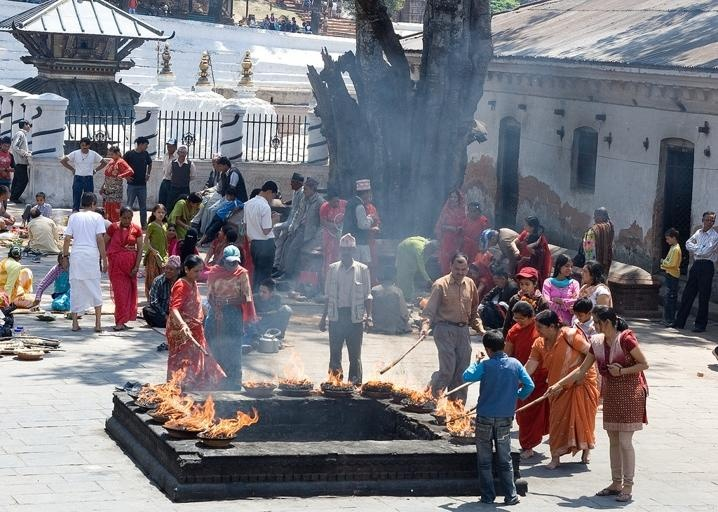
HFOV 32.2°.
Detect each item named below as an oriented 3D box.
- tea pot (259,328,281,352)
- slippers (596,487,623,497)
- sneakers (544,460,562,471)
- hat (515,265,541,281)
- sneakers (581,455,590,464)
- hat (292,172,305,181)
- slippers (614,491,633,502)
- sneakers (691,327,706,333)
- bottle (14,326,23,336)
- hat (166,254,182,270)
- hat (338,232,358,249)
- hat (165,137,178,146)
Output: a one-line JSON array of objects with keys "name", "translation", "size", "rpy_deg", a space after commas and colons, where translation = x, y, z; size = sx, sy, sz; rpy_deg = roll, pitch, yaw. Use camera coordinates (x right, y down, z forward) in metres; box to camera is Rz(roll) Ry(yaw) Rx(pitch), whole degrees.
[{"name": "tea pot", "translation": [-1.513, 1.446, 20.904], "size": [0.269, 0.334, 0.361], "rpy_deg": [2, -9, -6]}, {"name": "slippers", "translation": [3.337, 3.128, 16.405], "size": [0.322, 0.093, 0.123], "rpy_deg": [2, -1, -5]}, {"name": "sneakers", "translation": [2.709, 2.896, 17.161], "size": [0.239, 0.164, 0.093], "rpy_deg": [3, -1, -15]}, {"name": "hat", "translation": [2.600, 0.241, 18.652], "size": [0.243, 0.187, 0.342], "rpy_deg": [-3, -14, 33]}, {"name": "sneakers", "translation": [3.170, 2.843, 17.317], "size": [0.140, 0.152, 0.089], "rpy_deg": [-1, 0, -1]}, {"name": "hat", "translation": [-1.213, -1.564, 24.602], "size": [0.167, 0.146, 0.233], "rpy_deg": [21, 2, 6]}, {"name": "slippers", "translation": [3.491, 3.165, 16.234], "size": [0.114, 0.082, 0.220], "rpy_deg": [4, 4, 8]}, {"name": "sneakers", "translation": [6.408, 1.392, 23.250], "size": [0.259, 0.112, 0.098], "rpy_deg": [3, -2, 6]}, {"name": "bottle", "translation": [-5.643, 1.245, 20.481], "size": [0.142, 0.147, 0.146], "rpy_deg": [1, -9, -7]}, {"name": "hat", "translation": [-2.978, 0.101, 19.920], "size": [0.186, 0.218, 0.251], "rpy_deg": [7, 5, 2]}, {"name": "hat", "translation": [-0.162, -0.254, 20.332], "size": [0.324, 0.185, 0.498], "rpy_deg": [0, 1, -1]}, {"name": "hat", "translation": [-4.193, -2.573, 27.937], "size": [0.306, 0.190, 0.493], "rpy_deg": [2, 3, 7]}]
